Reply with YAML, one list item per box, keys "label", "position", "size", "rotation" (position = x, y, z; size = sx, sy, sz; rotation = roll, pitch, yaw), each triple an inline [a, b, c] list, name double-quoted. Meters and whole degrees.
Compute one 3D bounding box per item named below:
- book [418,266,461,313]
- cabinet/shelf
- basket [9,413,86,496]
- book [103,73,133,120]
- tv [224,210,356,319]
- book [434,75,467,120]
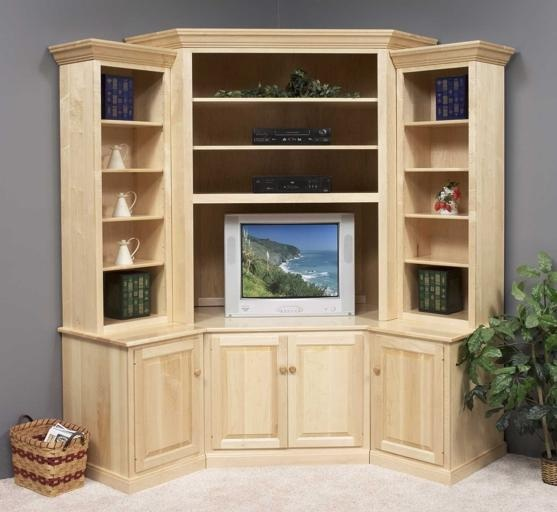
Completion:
- label: "book"
  position: [0.988, 0.219, 3.435]
  size: [0.274, 0.327, 0.239]
  rotation: [0, 0, 36]
- label: "cabinet/shelf"
  position: [-0.005, 0.072, 3.148]
  size: [2.717, 2.513, 1.122]
  rotation: [-1, 4, -5]
- label: "basket"
  position: [-1.247, 1.054, 2.876]
  size: [0.489, 0.350, 0.341]
  rotation: [2, 0, 36]
- label: "book"
  position: [-0.892, -0.887, 3.066]
  size: [0.056, 0.249, 0.198]
  rotation: [5, 7, 43]
- label: "tv"
  position: [0.060, 0.070, 3.403]
  size: [0.657, 0.538, 0.235]
  rotation: [0, -1, -4]
- label: "book"
  position: [0.997, -0.908, 3.149]
  size: [0.055, 0.254, 0.203]
  rotation: [-5, 7, -42]
